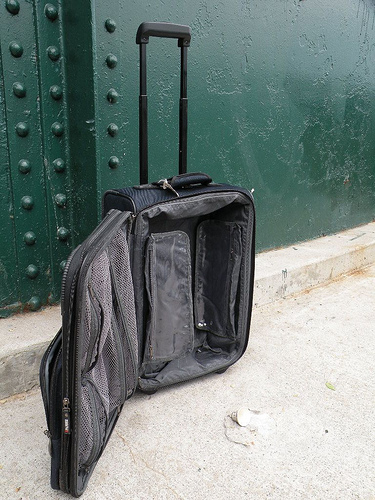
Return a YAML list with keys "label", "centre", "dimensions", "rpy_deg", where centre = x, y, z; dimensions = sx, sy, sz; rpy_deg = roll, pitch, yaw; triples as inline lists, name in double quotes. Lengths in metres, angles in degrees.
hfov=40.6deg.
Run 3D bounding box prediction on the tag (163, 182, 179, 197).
- label: "tag"
  centre: [-0.060, -0.205, 1.723]
  dimensions: [0.020, 0.050, 0.032]
  rpy_deg: [-29, 21, -34]
